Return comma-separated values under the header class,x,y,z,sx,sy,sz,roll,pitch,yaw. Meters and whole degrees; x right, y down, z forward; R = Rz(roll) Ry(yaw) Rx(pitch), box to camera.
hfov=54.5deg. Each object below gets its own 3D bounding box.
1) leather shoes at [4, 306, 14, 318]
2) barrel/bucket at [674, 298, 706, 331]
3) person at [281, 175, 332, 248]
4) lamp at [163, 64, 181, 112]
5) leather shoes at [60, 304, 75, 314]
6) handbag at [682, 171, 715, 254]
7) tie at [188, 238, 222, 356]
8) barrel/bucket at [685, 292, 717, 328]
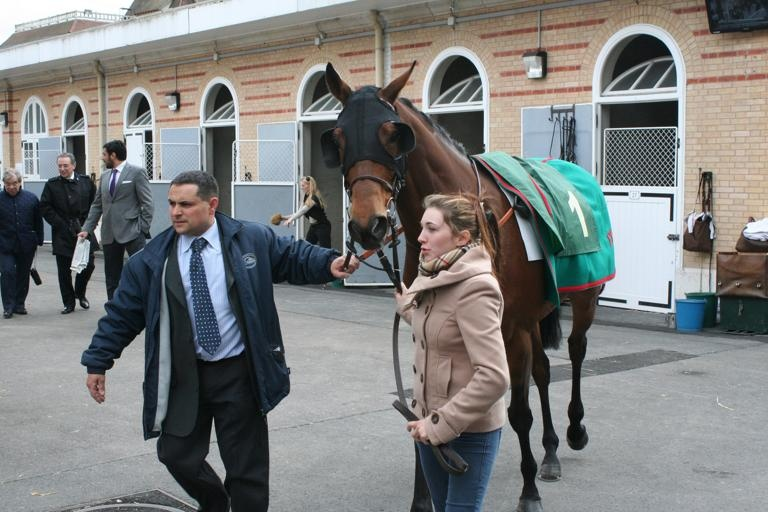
class,x,y,z,sx,sy,sz,roll,pitch,yaw
leather shoes,-5.975,0.926,11.877,0.156,0.163,0.098,1,-11,-2
barrel/bucket,4.869,0.931,11.811,0.448,0.512,0.464,1,0,0
person,-1.584,-0.554,15.165,1.044,2.087,0.863,-1,2,11
lamp,-5.704,-4.544,20.205,0.462,1.279,0.287,2,5,38
leather shoes,-5.197,0.874,12.337,0.241,0.150,0.233,-4,5,-38
handbag,5.165,-0.705,12.188,0.489,1.367,0.292,1,4,23
tie,-1.259,0.295,5.270,0.176,0.832,0.089,-7,-1,-4
barrel/bucket,4.888,0.903,11.780,0.389,0.438,0.396,1,-1,0
